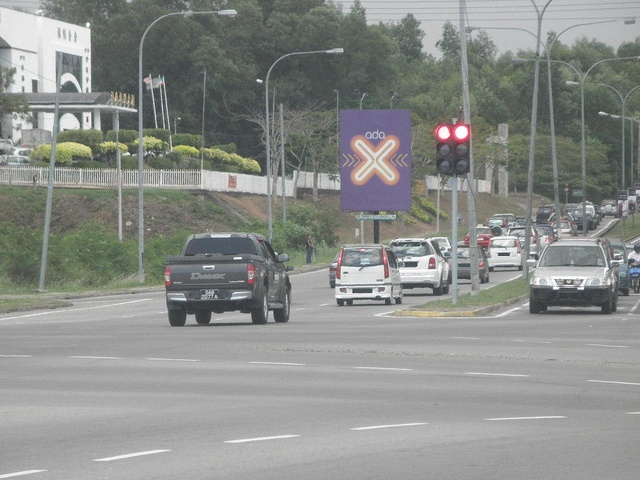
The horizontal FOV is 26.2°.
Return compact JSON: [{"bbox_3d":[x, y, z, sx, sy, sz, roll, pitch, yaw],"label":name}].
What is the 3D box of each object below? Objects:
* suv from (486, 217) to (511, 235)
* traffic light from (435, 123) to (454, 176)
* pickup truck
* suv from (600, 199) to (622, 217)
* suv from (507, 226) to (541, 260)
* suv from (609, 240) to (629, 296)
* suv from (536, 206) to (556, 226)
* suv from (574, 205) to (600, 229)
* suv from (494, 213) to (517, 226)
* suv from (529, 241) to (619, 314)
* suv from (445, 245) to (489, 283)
[{"bbox_3d":[11.417,-1.012,88.500,1.071,1.080,1.922,0,6,9],"label":"suv"},{"bbox_3d":[3.942,-2.864,43.516,0.548,1.181,0.800,-2,-1,5],"label":"traffic light"},{"bbox_3d":[-2.869,1.159,41.683,3.882,2.800,2.542,-2,-1,-15],"label":"pickup truck"},{"bbox_3d":[25.764,-2.884,121.982,1.542,1.438,3.436,1,6,13],"label":"suv"},{"bbox_3d":[10.659,0.085,70.657,1.172,1.114,2.213,1,10,12],"label":"suv"},{"bbox_3d":[11.682,1.037,53.702,1.216,1.690,3.430,-1,-4,10],"label":"suv"},{"bbox_3d":[16.067,-1.744,98.431,1.030,1.001,1.860,1,9,18],"label":"suv"},{"bbox_3d":[19.174,-1.615,99.271,1.482,1.461,3.438,2,6,21],"label":"suv"},{"bbox_3d":[13.366,-1.568,97.378,1.063,0.935,1.886,1,7,17],"label":"suv"},{"bbox_3d":[8.386,1.149,44.726,2.475,1.933,3.079,-3,-1,44],"label":"suv"},{"bbox_3d":[6.163,1.035,58.548,1.785,1.763,1.935,-1,2,18],"label":"suv"}]
